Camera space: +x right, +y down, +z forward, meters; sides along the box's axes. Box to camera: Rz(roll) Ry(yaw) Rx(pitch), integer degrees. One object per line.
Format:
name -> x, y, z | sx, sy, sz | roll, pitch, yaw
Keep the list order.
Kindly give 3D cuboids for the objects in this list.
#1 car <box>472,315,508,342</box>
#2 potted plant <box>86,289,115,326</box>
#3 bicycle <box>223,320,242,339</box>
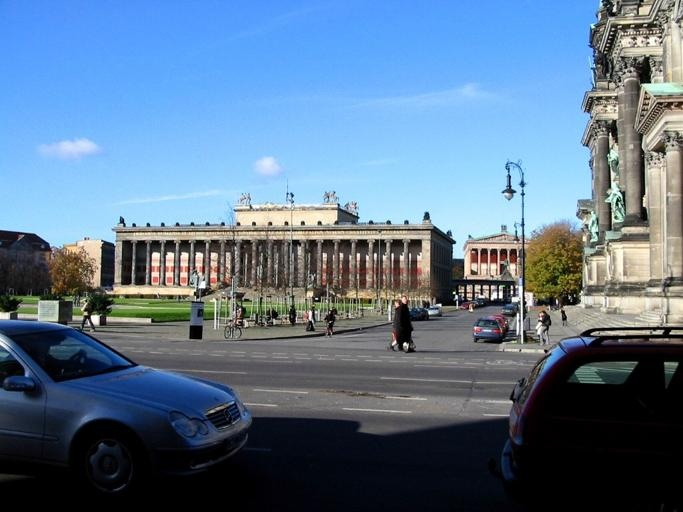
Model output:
car -> 7.797, 3.902, 40.487 | 1.232, 0.931, 2.968 | 0, 4, 17
potted plant -> -14.161, 2.972, 46.571 | 1.983, 2.446, 1.656 | -5, -5, 39
bicycle -> -5.660, 3.737, 39.551 | 1.261, 0.804, 0.663 | -2, -4, 32
